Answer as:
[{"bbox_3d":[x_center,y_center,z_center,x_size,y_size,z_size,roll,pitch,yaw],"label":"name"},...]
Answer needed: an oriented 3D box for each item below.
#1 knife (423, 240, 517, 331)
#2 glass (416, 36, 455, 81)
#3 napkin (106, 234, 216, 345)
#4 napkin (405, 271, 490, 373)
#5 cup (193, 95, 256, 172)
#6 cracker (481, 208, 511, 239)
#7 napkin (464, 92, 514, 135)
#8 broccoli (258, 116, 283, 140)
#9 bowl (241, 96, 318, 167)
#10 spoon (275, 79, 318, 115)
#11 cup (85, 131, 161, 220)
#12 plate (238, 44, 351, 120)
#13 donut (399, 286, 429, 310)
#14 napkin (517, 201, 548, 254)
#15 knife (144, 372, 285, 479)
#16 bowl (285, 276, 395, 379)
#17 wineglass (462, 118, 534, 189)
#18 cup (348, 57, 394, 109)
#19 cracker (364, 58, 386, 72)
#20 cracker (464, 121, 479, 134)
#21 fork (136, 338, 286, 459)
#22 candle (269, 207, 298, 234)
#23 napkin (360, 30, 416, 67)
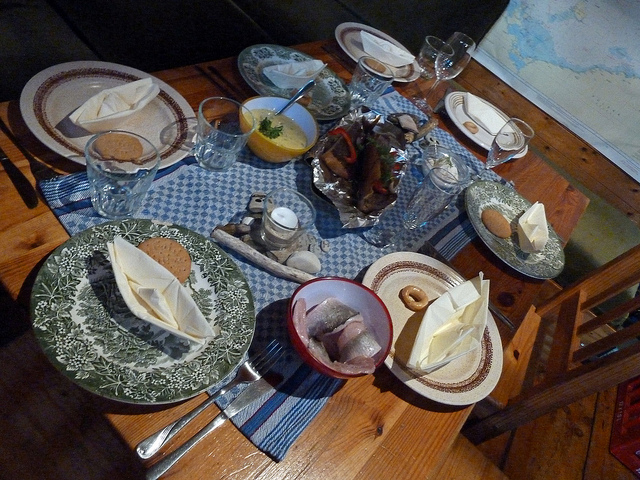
[{"bbox_3d":[0.437,0.139,1.363,0.349,0.047,0.018,49,8,12],"label":"knife"},{"bbox_3d":[0.482,-0.791,2.009,0.147,0.153,0.157,41,46,5],"label":"glass"},{"bbox_3d":[-0.369,0.131,1.054,0.333,0.108,0.144,51,39,-6],"label":"napkin"},{"bbox_3d":[0.356,0.252,1.260,0.151,0.119,0.322,32,65,18],"label":"napkin"},{"bbox_3d":[-0.319,-0.281,1.415,0.169,0.154,0.154,24,7,-3],"label":"cup"},{"bbox_3d":[0.599,-0.056,1.601,0.114,0.064,0.072,49,42,7],"label":"cracker"},{"bbox_3d":[0.686,-0.526,1.992,0.266,0.055,0.137,46,49,9],"label":"napkin"},{"bbox_3d":[-0.148,-0.336,1.416,0.071,0.029,0.069,50,42,12],"label":"broccoli"},{"bbox_3d":[-0.137,-0.323,1.476,0.218,0.109,0.229,15,51,-20],"label":"bowl"},{"bbox_3d":[-0.085,-0.486,1.577,0.030,0.028,0.237,34,47,-1],"label":"spoon"},{"bbox_3d":[-0.507,-0.159,1.178,0.135,0.133,0.152,30,33,1],"label":"cup"},{"bbox_3d":[-0.098,-0.555,1.652,0.327,0.239,0.358,-23,40,-38],"label":"plate"},{"bbox_3d":[0.264,0.163,1.297,0.065,0.026,0.069,-6,56,-36],"label":"donut"},{"bbox_3d":[0.741,-0.036,1.607,0.127,0.083,0.157,-10,69,-36],"label":"napkin"},{"bbox_3d":[-0.242,0.413,1.013,0.373,0.019,0.051,-38,90,-23],"label":"knife"},{"bbox_3d":[0.058,0.219,1.081,0.241,0.114,0.260,9,62,-18],"label":"bowl"},{"bbox_3d":[0.695,-0.339,1.832,0.147,0.336,0.145,36,22,-25],"label":"wineglass"},{"bbox_3d":[0.177,-0.629,1.779,0.161,0.182,0.167,6,58,-9],"label":"cup"},{"bbox_3d":[0.203,-0.640,1.698,0.091,0.024,0.026,19,53,-23],"label":"cracker"},{"bbox_3d":[0.626,-0.465,1.923,0.049,0.014,0.052,-23,68,-41],"label":"cracker"},{"bbox_3d":[-0.253,0.356,1.022,0.405,0.031,0.056,-39,96,-20],"label":"fork"},{"bbox_3d":[-0.100,-0.048,1.277,0.067,0.027,0.071,18,54,-17],"label":"candle"},{"bbox_3d":[0.273,-0.781,1.939,0.214,0.074,0.131,21,20,-14],"label":"napkin"}]
